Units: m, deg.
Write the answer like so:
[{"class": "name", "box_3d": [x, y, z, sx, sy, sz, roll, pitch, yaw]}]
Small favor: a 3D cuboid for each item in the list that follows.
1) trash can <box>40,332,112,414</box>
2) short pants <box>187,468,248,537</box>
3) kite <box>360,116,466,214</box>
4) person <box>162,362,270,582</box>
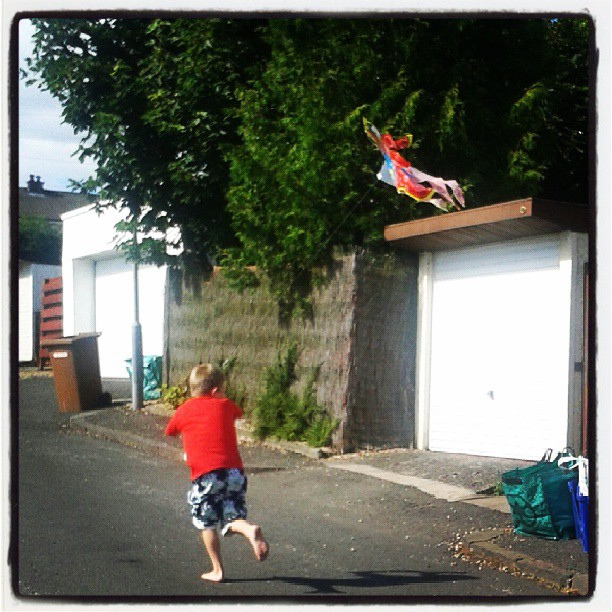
[{"class": "trash can", "box_3d": [-3.483, 0.976, 16.831, 0.648, 1.562, 1.094, 0, -2, 14]}, {"class": "short pants", "box_3d": [-0.711, 1.685, 9.753, 0.416, 0.628, 0.339, 6, -15, 14]}, {"class": "kite", "box_3d": [1.419, -1.551, 13.814, 0.959, 0.658, 1.600, -20, -45, 13]}, {"class": "person", "box_3d": [-0.731, 1.495, 9.719, 0.959, 1.911, 0.486, 7, 14, 37]}]
